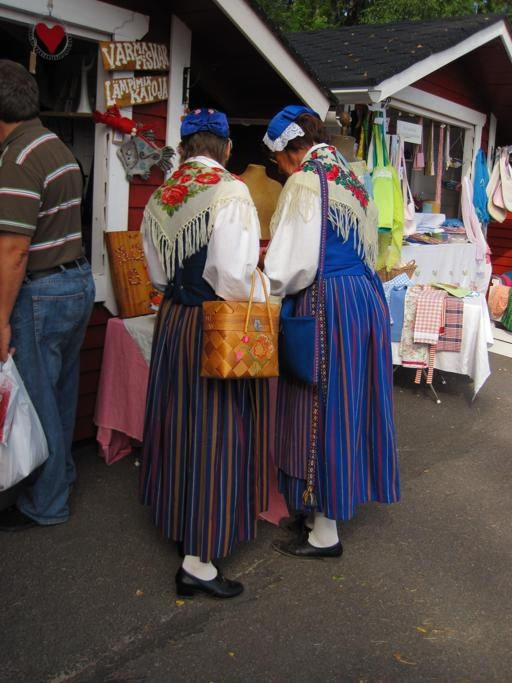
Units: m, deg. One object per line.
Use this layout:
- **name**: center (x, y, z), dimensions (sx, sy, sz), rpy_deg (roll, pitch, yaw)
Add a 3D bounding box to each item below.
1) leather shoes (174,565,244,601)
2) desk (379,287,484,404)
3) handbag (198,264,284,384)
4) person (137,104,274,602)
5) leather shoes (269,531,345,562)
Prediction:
- **leather shoes**: center (-0.169, 0.873, 1.939), dimensions (0.266, 0.117, 0.106), rpy_deg (2, 2, -17)
- **desk**: center (1.565, 0.045, 4.315), dimensions (0.787, 0.580, 0.799), rpy_deg (6, 22, 24)
- **handbag**: center (-0.028, -0.044, 1.537), dimensions (0.219, 0.301, 0.144), rpy_deg (-1, -2, -26)
- **person**: center (-0.186, 0.103, 1.763), dimensions (0.492, 1.673, 0.413), rpy_deg (5, 9, 16)
- **leather shoes**: center (0.202, 0.863, 2.209), dimensions (0.279, 0.105, 0.109), rpy_deg (4, -6, 3)
